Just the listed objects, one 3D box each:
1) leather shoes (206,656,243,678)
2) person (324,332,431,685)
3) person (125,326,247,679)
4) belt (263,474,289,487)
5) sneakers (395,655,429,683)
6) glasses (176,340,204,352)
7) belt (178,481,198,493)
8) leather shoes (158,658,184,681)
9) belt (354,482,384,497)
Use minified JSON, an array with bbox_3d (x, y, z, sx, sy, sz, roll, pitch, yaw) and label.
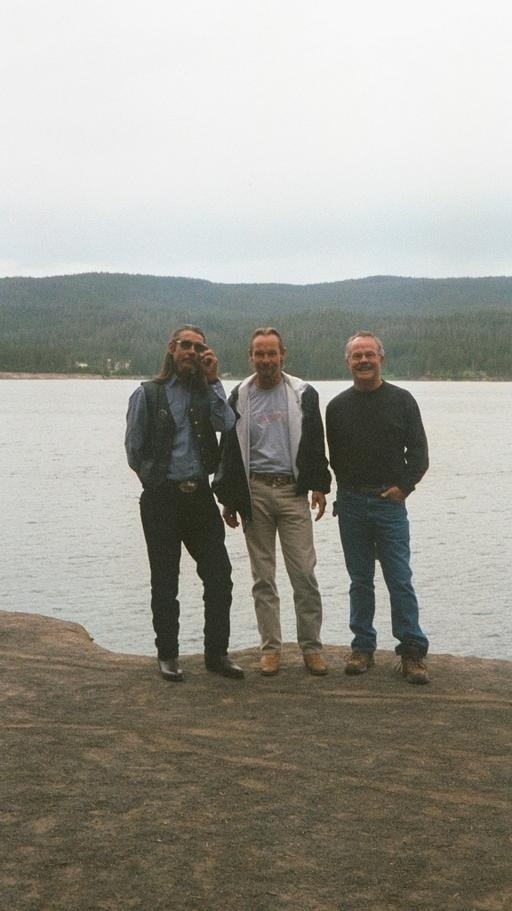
[{"bbox_3d":[-0.165,1.114,5.693,0.082,0.096,0.227,-2,2,-39],"label":"leather shoes"},{"bbox_3d":[0.636,0.272,5.667,0.570,1.822,0.623,1,6,3],"label":"person"},{"bbox_3d":[-0.375,0.253,5.595,0.606,1.834,0.388,-1,6,-9],"label":"person"},{"bbox_3d":[0.108,0.130,5.649,0.140,0.060,0.034,1,6,1],"label":"belt"},{"bbox_3d":[0.807,1.102,5.574,0.116,0.119,0.291,-1,7,-11],"label":"sneakers"},{"bbox_3d":[-0.336,-0.563,5.524,0.139,0.059,0.038,-1,7,-10],"label":"glasses"},{"bbox_3d":[-0.345,0.162,5.503,0.106,0.066,0.031,-3,8,-31],"label":"belt"},{"bbox_3d":[-0.443,1.111,5.581,0.059,0.071,0.163,3,12,-23],"label":"leather shoes"},{"bbox_3d":[0.576,0.177,5.592,0.172,0.061,0.028,5,8,36],"label":"belt"}]
